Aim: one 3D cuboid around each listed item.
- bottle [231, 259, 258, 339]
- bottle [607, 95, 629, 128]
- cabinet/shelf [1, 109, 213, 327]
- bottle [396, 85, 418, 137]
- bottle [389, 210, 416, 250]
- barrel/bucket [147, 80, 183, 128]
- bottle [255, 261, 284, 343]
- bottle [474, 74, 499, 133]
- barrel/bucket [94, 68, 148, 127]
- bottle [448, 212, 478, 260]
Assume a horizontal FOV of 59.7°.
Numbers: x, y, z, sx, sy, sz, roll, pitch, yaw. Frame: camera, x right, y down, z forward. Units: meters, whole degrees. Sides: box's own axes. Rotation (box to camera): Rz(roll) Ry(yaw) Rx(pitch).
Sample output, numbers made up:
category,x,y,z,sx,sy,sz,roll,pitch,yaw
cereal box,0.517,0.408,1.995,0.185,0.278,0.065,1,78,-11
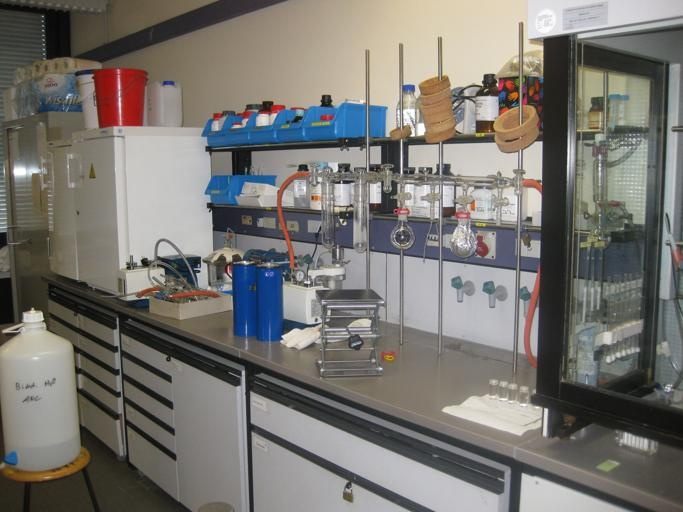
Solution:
category,x,y,z,sx,sy,sz,roll,pitch,yaw
bottle,-0.492,0.211,2.959,0.149,0.362,0.130,0,11,6
bottle,0.830,-0.442,1.796,0.068,0.095,0.012,-6,12,-18
cabinet/shelf,-2.130,-0.207,4.793,2.607,1.868,0.748,8,15,38
bottle,0.319,-0.712,2.887,0.092,0.243,0.384,0,13,8
bottle,0.266,-0.122,2.645,0.103,0.198,0.018,2,27,7
barrel/bucket,-1.302,-1.112,4.392,0.170,0.358,0.189,5,9,40
bottle,-0.353,0.224,2.885,0.129,0.368,0.108,-3,11,-6
bottle,0.619,-0.656,2.555,0.100,0.247,0.133,1,12,13
barrel/bucket,-1.557,-1.081,4.196,0.359,0.401,0.374,-1,2,0
bottle,0.498,-0.097,2.444,0.097,0.188,0.167,1,12,11
